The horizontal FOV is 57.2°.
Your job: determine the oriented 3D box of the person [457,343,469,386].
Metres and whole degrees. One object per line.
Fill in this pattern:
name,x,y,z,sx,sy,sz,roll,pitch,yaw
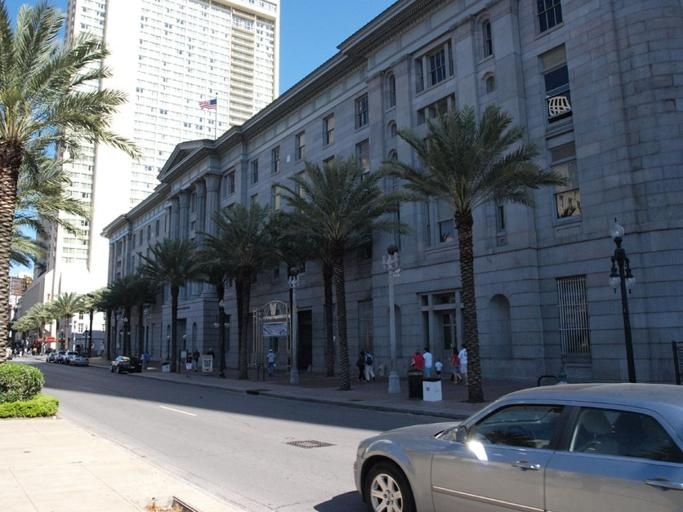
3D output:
person,5.743,5.115,29.529,0.372,1.317,2.173,-7,3,8

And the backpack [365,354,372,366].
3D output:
backpack,1.515,5.781,34.609,0.363,0.541,0.591,-8,3,-9

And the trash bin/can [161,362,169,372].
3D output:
trash bin/can,-13.559,8.555,48.106,0.580,0.744,1.419,-9,2,-18

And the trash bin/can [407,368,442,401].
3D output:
trash bin/can,3.276,5.167,24.929,0.557,1.246,1.569,3,-6,-33

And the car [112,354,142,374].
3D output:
car,-16.843,8.393,48.135,1.088,0.862,2.471,6,-7,-38
